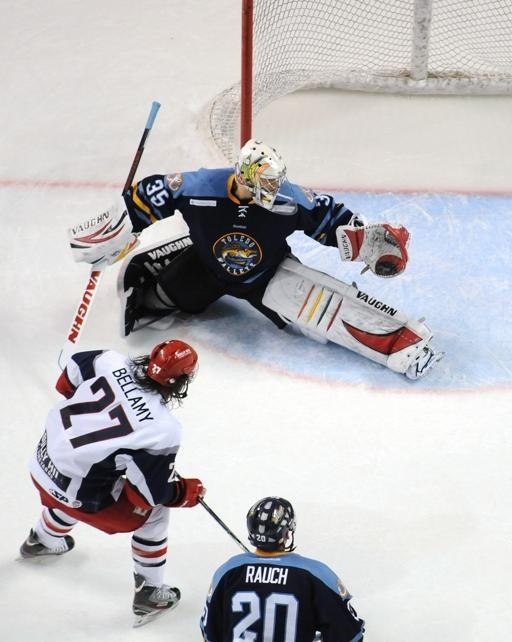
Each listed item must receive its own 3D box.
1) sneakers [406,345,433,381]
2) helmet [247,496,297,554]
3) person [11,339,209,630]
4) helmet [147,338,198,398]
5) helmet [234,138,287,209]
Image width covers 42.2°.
[{"bbox_3d":[0.788,0.204,3.203,0.058,0.157,0.119,43,33,2],"label":"sneakers"},{"bbox_3d":[0.017,0.550,1.769,0.166,0.152,0.177,4,-8,-5],"label":"helmet"},{"bbox_3d":[-0.491,0.610,2.282,0.532,0.841,0.482,-22,59,-34],"label":"person"},{"bbox_3d":[-0.265,0.170,2.101,0.158,0.211,0.124,0,22,-9],"label":"helmet"},{"bbox_3d":[0.040,-0.660,2.996,0.207,0.242,0.256,-11,43,-35],"label":"helmet"}]
